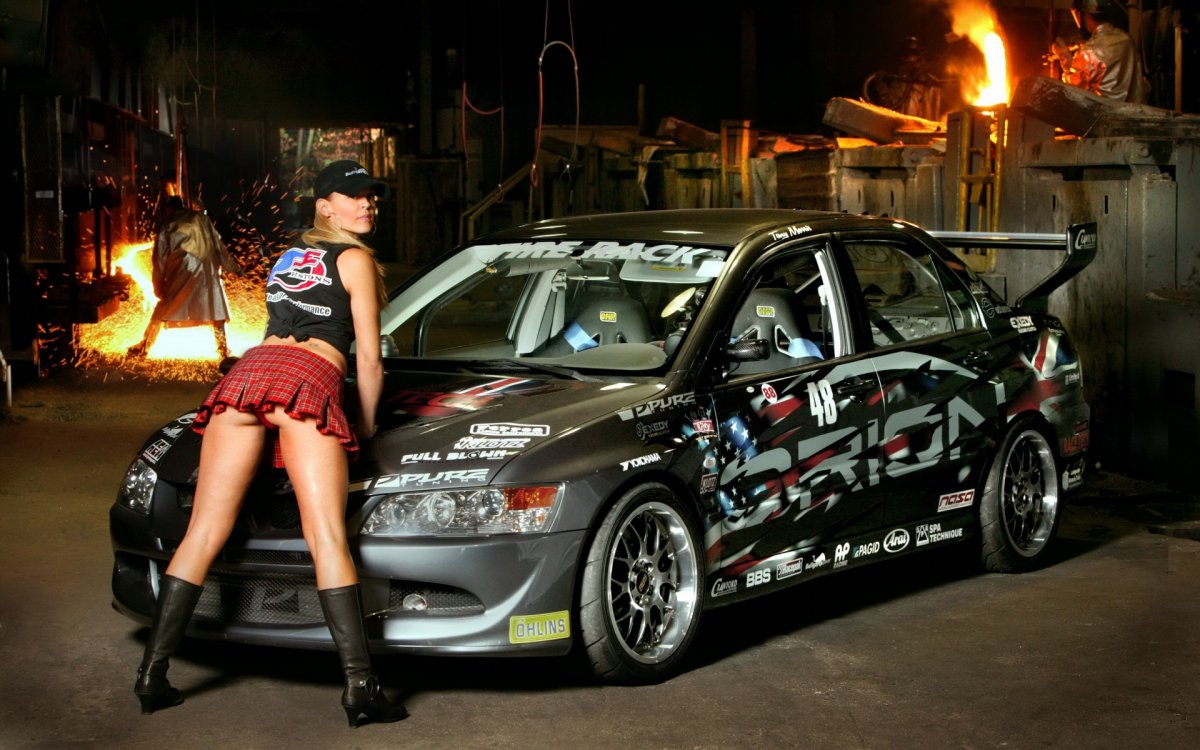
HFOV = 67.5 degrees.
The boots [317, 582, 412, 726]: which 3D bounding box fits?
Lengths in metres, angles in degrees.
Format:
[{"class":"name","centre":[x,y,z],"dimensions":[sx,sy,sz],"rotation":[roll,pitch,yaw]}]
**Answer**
[{"class":"boots","centre":[-0.974,1.128,3.665],"dimensions":[0.332,0.610,0.148],"rotation":[-4,6,-42]}]

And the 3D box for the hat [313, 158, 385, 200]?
[{"class":"hat","centre":[-1.108,-0.823,3.867],"dimensions":[0.250,0.131,0.186],"rotation":[-8,8,18]}]

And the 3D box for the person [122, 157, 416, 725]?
[{"class":"person","centre":[-1.328,0.258,3.794],"dimensions":[1.041,2.325,0.504],"rotation":[1,5,8]}]
